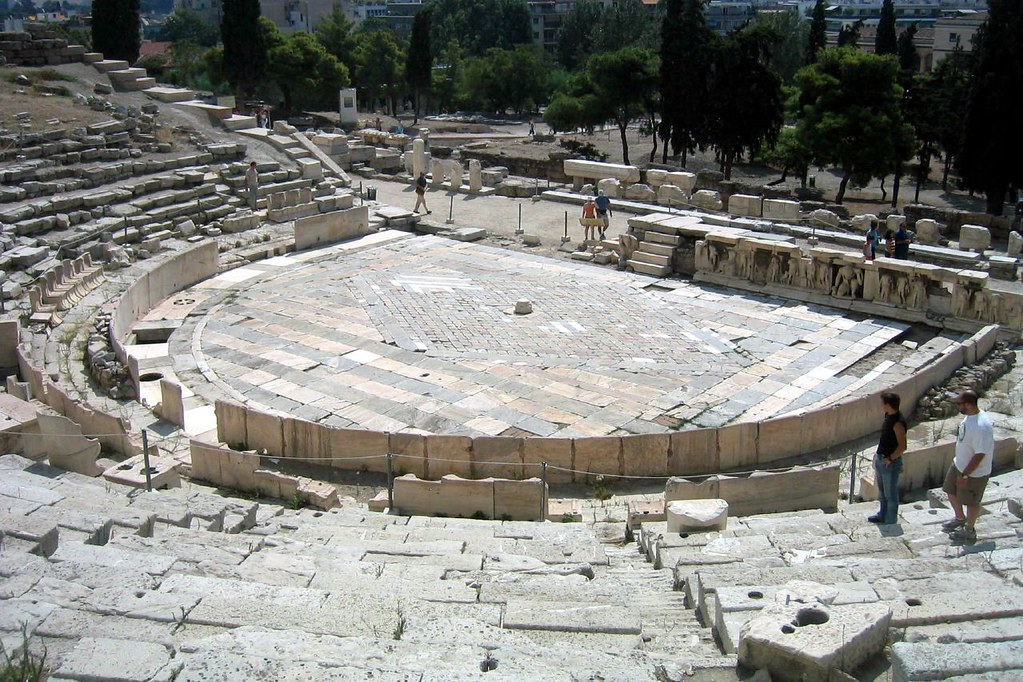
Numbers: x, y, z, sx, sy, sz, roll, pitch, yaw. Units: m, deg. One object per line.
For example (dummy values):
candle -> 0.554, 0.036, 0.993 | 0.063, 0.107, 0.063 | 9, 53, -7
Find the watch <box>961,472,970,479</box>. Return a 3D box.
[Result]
watch -> 5.623, 1.655, 11.344 | 0.080, 0.015, 0.071 | -6, 19, -2

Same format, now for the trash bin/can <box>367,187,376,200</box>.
trash bin/can -> -5.266, -5.584, 34.689 | 0.507, 0.432, 0.453 | -2, 19, -7

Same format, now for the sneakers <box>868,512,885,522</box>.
sneakers -> 4.919, 2.359, 12.388 | 0.091, 0.156, 0.244 | 0, 14, 5

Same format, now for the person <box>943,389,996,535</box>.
person -> 5.713, 1.505, 11.438 | 0.534, 1.795, 0.840 | 13, 20, 25

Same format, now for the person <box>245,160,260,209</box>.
person -> -8.903, -5.291, 31.629 | 0.410, 1.387, 1.216 | -2, 18, -15

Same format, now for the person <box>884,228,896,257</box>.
person -> 10.254, -2.618, 24.772 | 0.253, 0.577, 1.017 | 9, 17, 16
